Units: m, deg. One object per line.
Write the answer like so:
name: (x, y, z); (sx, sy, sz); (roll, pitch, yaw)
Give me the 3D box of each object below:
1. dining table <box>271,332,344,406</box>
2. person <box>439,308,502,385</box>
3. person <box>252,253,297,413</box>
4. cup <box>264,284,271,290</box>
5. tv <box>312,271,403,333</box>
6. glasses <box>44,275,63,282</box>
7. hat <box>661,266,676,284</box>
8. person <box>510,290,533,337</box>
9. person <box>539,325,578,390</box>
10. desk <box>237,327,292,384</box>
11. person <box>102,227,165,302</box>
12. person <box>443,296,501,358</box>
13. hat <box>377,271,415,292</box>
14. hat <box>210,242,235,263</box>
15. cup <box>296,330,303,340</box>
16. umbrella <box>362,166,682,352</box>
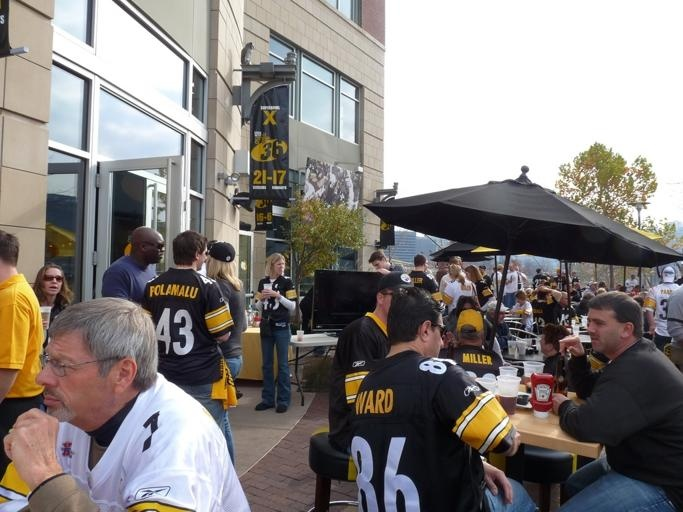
dining table: (-0.527, 1.530, 8.866); (0.959, 1.089, 1.628); (1, -2, 5)
person: (1.222, 0.691, 5.397); (0.370, 0.400, 0.808); (-2, 40, 2)
person: (-0.928, 1.049, 7.947); (0.621, 2.126, 0.849); (-4, 3, -6)
cup: (-1.035, 0.434, 7.929); (0.063, 0.072, 0.069); (0, -1, 7)
tv: (0.107, 0.473, 6.177); (0.726, 0.591, 0.205); (-3, 17, -17)
glasses: (-3.054, 0.230, 6.063); (0.083, 0.067, 0.222); (-4, 3, 16)
hat: (5.446, 0.290, 9.491); (0.214, 0.285, 0.261); (1, -3, 23)
person: (3.517, 1.087, 11.219); (0.468, 0.860, 0.519); (0, 0, 30)
person: (1.846, 1.041, 4.952); (0.201, 0.795, 0.200); (0, 33, 6)
desk: (-1.226, 1.550, 9.165); (0.743, 0.651, 0.814); (1, -2, 10)
person: (-1.917, 0.130, 5.393); (0.398, 0.848, 0.849); (9, 3, 4)
person: (1.667, 0.831, 7.044); (0.364, 0.946, 0.546); (18, -29, -3)
hat: (0.393, 0.193, 4.274); (0.194, 0.127, 0.147); (-15, -12, 40)
hat: (-1.319, -0.093, 6.220); (0.197, 0.166, 0.261); (0, 26, -37)
cup: (-0.590, 1.134, 8.152); (0.096, 0.159, 0.101); (1, -1, 0)
umbrella: (1.877, -0.268, 5.495); (1.693, 1.045, 1.920); (19, 0, 11)
